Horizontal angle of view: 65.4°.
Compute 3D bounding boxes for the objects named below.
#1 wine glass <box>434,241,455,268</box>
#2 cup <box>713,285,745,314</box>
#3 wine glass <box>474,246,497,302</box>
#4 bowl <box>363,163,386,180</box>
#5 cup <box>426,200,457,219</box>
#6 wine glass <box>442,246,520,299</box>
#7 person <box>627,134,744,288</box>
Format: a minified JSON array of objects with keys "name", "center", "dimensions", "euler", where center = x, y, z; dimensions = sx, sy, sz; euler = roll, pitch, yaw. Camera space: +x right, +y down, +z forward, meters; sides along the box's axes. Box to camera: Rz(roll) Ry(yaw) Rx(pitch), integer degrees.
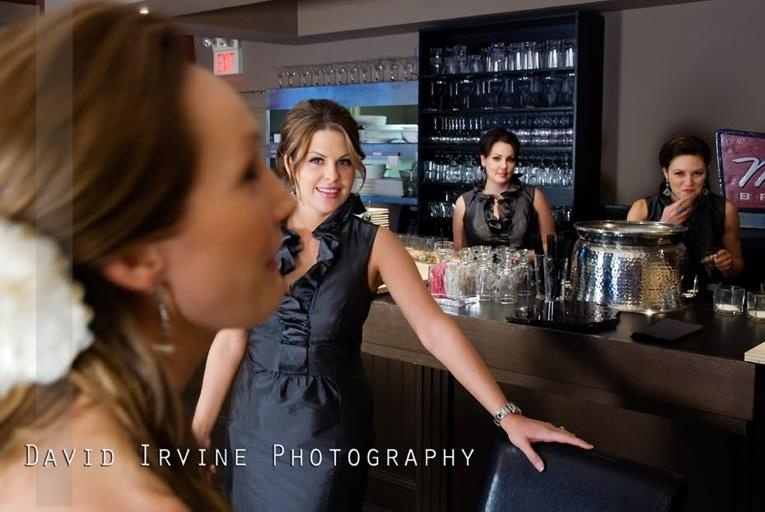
[{"name":"wine glass","center":[0.339,-0.011,3.150],"dimensions":[0.119,0.139,0.126],"euler":[0,0,-2]},{"name":"cup","center":[1.443,0.183,2.479],"dimensions":[0.112,0.119,0.114],"euler":[1,1,0]},{"name":"wine glass","center":[0.473,0.089,2.762],"dimensions":[0.116,0.249,0.121],"euler":[-10,-22,37]},{"name":"bowl","center":[-0.087,-0.987,6.914],"dimensions":[0.282,0.201,0.307],"euler":[-1,2,0]},{"name":"cup","center":[0.618,-0.483,6.205],"dimensions":[0.253,0.125,0.368],"euler":[-3,-1,6]},{"name":"wine glass","center":[0.447,0.044,2.723],"dimensions":[0.250,0.144,0.277],"euler":[-2,3,-21]},{"name":"person","center":[1.918,-0.340,3.783],"dimensions":[0.667,0.812,0.418],"euler":[5,10,29]}]
